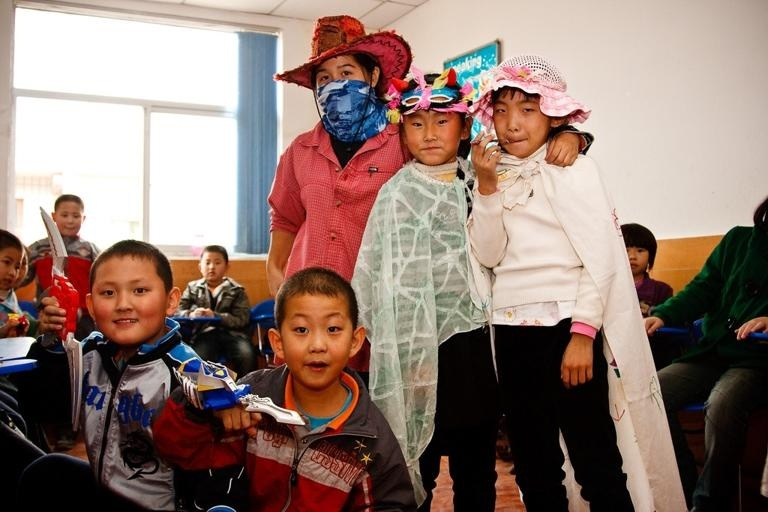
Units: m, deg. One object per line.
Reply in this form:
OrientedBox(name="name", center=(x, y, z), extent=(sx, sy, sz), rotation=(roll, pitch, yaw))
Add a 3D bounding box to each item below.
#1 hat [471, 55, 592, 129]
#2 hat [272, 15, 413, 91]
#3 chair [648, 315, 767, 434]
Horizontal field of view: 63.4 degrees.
OrientedBox(name="hat", center=(0.539, -0.628, 2.306), extent=(0.325, 0.165, 0.328), rotation=(7, 4, 35))
OrientedBox(name="hat", center=(-0.135, -0.868, 2.498), extent=(0.402, 0.171, 0.364), rotation=(-9, -17, -29))
OrientedBox(name="chair", center=(1.629, 0.573, 3.135), extent=(0.501, 0.605, 0.465), rotation=(-3, -12, 15))
